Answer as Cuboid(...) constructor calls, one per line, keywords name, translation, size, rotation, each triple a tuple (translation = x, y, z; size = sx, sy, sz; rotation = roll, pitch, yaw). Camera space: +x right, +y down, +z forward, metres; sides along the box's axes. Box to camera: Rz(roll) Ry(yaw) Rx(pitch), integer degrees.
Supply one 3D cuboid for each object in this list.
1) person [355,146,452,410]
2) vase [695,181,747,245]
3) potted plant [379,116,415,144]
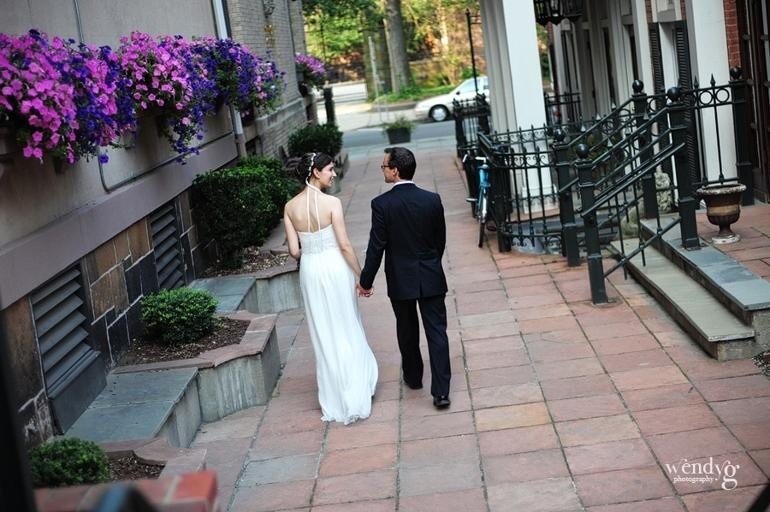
Cuboid(name="person", translation=(0.205, 0.184, 6.145), size=(0.897, 2.423, 0.842), rotation=(2, 22, 27))
Cuboid(name="vase", translation=(4.212, -0.510, 7.857), size=(0.585, 0.642, 0.573), rotation=(-9, 3, -36))
Cuboid(name="potted plant", translation=(0.455, -4.975, 25.176), size=(1.125, 0.988, 1.304), rotation=(-2, 15, 1))
